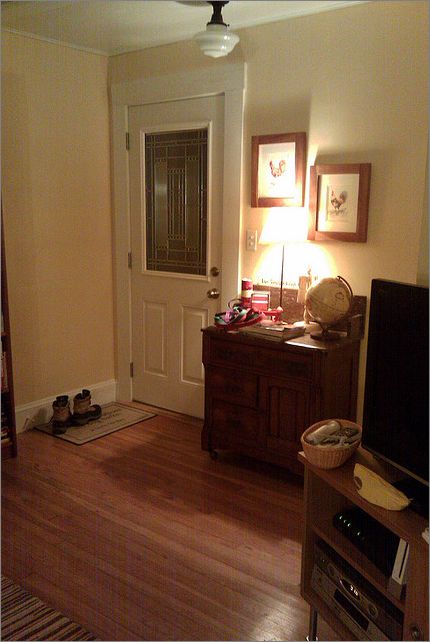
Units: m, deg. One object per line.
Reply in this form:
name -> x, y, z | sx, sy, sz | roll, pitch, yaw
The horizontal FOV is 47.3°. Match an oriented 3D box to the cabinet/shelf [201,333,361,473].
cabinet/shelf -> 0.225, 0.279, 1.811 | 0.475, 0.498, 0.279 | 9, 14, 34

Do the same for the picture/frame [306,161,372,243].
picture/frame -> 0.418, -0.396, 1.626 | 0.018, 0.265, 0.246 | -4, 13, -32

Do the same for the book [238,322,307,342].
book -> 0.194, 0.038, 1.669 | 0.230, 0.044, 0.120 | 2, 9, 9

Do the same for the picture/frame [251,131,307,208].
picture/frame -> 0.244, -0.566, 1.809 | 0.255, 0.334, 0.021 | 13, 21, 43

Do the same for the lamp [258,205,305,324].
lamp -> 0.234, -0.220, 1.819 | 0.226, 0.379, 0.164 | 6, 10, 34
